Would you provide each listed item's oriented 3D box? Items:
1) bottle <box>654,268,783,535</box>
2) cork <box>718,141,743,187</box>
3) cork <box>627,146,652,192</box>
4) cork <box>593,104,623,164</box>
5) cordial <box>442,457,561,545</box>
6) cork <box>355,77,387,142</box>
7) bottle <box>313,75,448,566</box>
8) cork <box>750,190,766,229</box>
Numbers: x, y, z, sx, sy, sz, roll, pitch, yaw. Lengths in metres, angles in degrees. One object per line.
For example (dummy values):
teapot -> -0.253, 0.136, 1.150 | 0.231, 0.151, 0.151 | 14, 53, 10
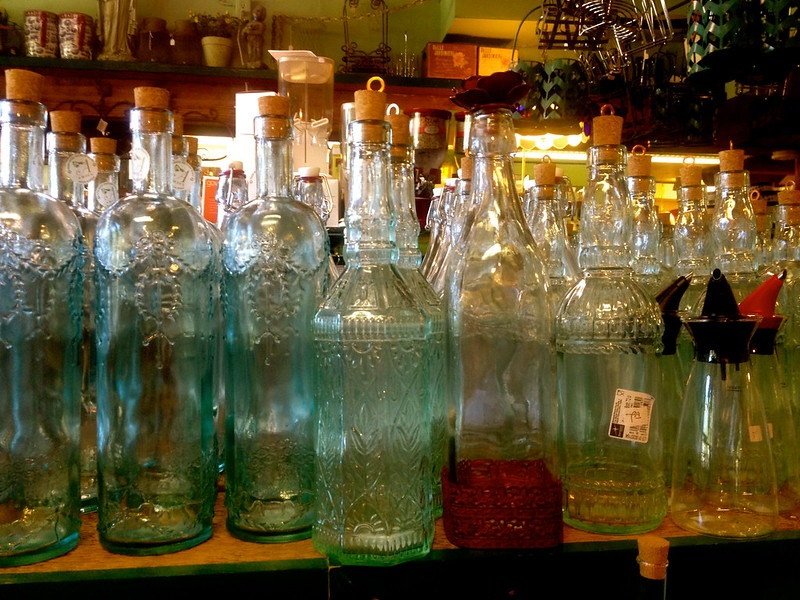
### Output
bottle -> 0.481, 0.150, 1.125 | 0.138, 0.386, 0.076 | 0, 2, 24
cork -> 0.599, -0.241, 1.365 | 0.049, 0.081, 0.049 | -11, 8, -30
cork -> 0.418, -0.222, 1.322 | 0.043, 0.101, 0.042 | 1, -3, 17
cork -> 0.325, -0.254, 1.185 | 0.047, 0.106, 0.047 | -1, -1, 3
cordial -> 0.152, 0.274, 1.084 | 0.132, 0.062, 0.133 | 1, 1, 0
cork -> -0.039, -0.271, 1.091 | 0.044, 0.103, 0.042 | 3, 1, -24
bottle -> -0.042, 0.035, 1.062 | 0.170, 0.655, 0.084 | -1, 2, 1
cork -> 0.712, -0.180, 1.505 | 0.030, 0.086, 0.097 | 0, 2, 25
